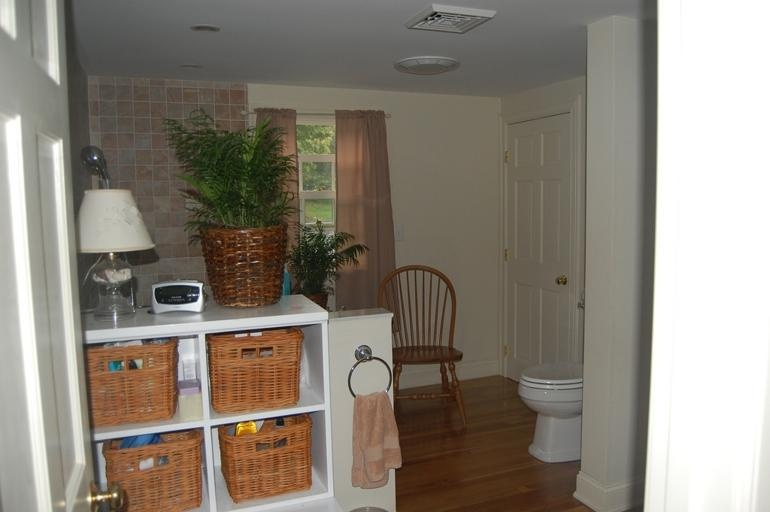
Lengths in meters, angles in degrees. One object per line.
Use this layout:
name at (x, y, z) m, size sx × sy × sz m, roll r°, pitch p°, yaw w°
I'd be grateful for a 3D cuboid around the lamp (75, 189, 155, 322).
lamp at (-0.967, -0.015, 2.195) m, size 0.237 × 0.460 × 0.348 m, roll -4°, pitch 9°, yaw -24°

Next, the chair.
chair at (0.277, 0.643, 4.301) m, size 0.697 × 1.092 × 0.629 m, roll -1°, pitch 4°, yaw 22°

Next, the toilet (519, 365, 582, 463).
toilet at (1.016, 0.890, 3.741) m, size 0.549 × 0.458 × 0.465 m, roll 3°, pitch 8°, yaw 23°

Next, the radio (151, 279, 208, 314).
radio at (-0.724, 0.141, 2.143) m, size 0.115 × 0.079 × 0.155 m, roll 0°, pitch -5°, yaw -29°

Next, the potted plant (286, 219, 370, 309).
potted plant at (-0.454, 0.035, 4.091) m, size 0.554 × 0.586 × 0.447 m, roll 6°, pitch 22°, yaw 27°

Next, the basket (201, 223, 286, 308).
basket at (-0.490, 0.036, 2.188) m, size 0.296 × 0.250 × 0.315 m, roll -1°, pitch -2°, yaw -4°
